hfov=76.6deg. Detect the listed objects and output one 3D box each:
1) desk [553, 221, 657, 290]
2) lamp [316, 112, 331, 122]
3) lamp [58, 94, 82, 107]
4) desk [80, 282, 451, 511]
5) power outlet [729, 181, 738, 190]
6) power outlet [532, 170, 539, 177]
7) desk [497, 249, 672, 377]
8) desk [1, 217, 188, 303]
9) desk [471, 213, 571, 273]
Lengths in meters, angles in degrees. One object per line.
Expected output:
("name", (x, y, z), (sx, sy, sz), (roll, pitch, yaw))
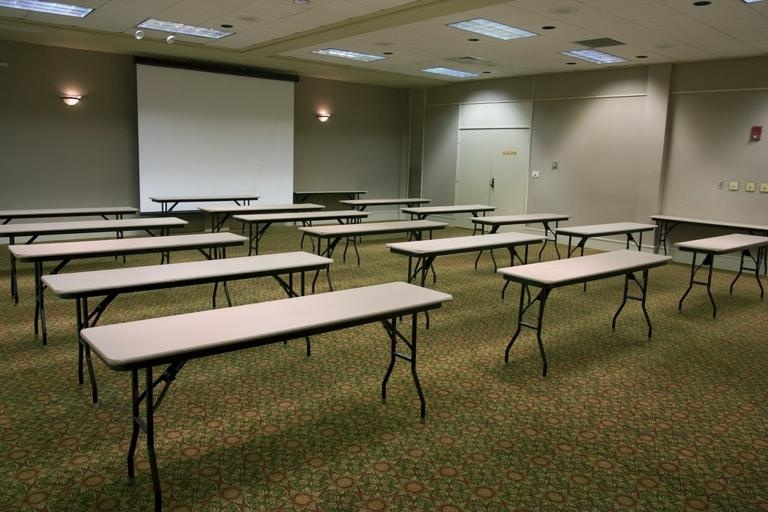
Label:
("desk", (3.636, -0.015, 7.895), (1.365, 0.606, 0.462), (-9, 19, -28))
("lamp", (-1.706, -3.951, 13.885), (0.424, 0.272, 0.115), (-11, 17, -42))
("lamp", (-6.709, -3.361, 10.450), (0.296, 0.163, 0.281), (0, 10, -5))
("desk", (-0.937, 1.071, 4.095), (2.573, 1.246, 0.957), (-7, 15, -31))
("power outlet", (6.782, -1.367, 9.510), (0.170, 0.151, 0.157), (10, 15, 41))
("power outlet", (3.784, -2.084, 12.288), (0.165, 0.144, 0.038), (4, 2, 30))
("desk", (2.493, 0.612, 5.992), (2.485, 1.048, 0.714), (-6, 14, -35))
("desk", (-3.826, 0.069, 6.439), (1.449, 0.552, 0.454), (-8, 31, -34))
("desk", (2.557, -0.237, 9.016), (1.350, 0.613, 0.455), (-9, 21, -28))
